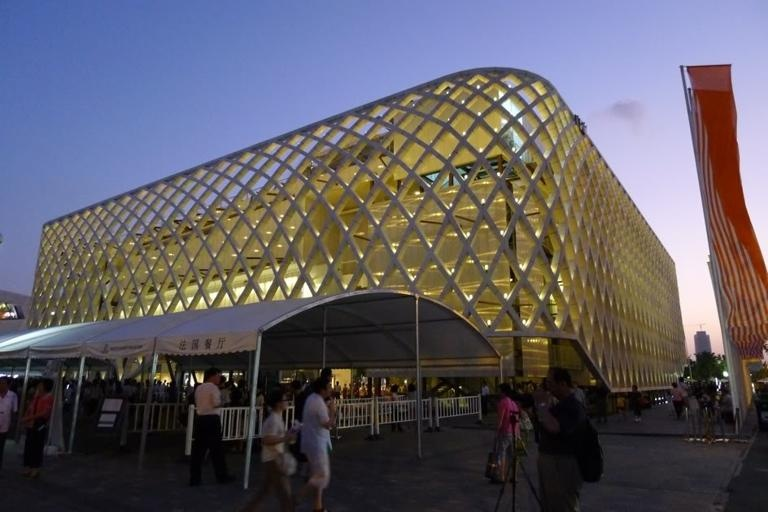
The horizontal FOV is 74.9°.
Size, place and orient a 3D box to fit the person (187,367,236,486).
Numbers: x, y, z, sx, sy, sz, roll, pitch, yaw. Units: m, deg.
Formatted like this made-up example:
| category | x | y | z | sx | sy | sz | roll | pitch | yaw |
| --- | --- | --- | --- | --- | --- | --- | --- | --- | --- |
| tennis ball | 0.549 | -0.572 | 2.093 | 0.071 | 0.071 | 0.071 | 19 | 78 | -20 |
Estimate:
| category | x | y | z | sx | sy | sz | roll | pitch | yaw |
| --- | --- | --- | --- | --- | --- | --- | --- | --- | --- |
| person | -4.939 | 4.833 | 14.301 | 1.042 | 3.169 | 1.406 | 3 | -14 | -21 |

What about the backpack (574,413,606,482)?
| category | x | y | z | sx | sy | sz | roll | pitch | yaw |
| --- | --- | --- | --- | --- | --- | --- | --- | --- | --- |
| backpack | 3.811 | 3.606 | 9.304 | 0.438 | 1.210 | 0.764 | -8 | -15 | 25 |

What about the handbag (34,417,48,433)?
| category | x | y | z | sx | sy | sz | roll | pitch | yaw |
| --- | --- | --- | --- | --- | --- | --- | --- | --- | --- |
| handbag | -10.022 | 4.920 | 14.623 | 0.214 | 0.372 | 0.319 | -14 | -18 | 41 |
